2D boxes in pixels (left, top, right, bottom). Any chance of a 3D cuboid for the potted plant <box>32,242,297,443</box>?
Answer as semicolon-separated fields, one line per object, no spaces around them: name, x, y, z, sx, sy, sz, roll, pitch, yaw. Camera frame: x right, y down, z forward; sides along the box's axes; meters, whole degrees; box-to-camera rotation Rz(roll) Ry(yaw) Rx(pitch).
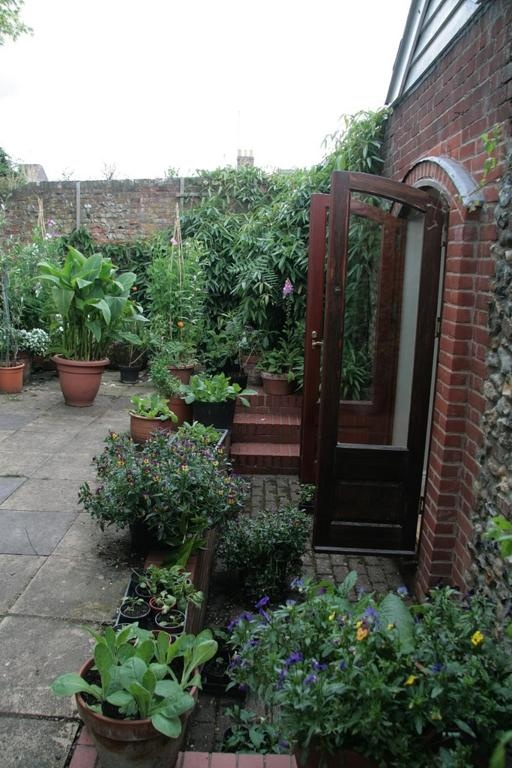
potted plant;-1.308;-0.346;6.412;2.405;1.754;2.282;6;-2;-25

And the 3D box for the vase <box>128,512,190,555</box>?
vase;-0.460;0.686;2.468;0.224;0.117;0.269;1;4;-8

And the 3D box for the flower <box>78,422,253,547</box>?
flower;-0.455;0.492;2.639;0.747;0.412;0.571;11;14;38
